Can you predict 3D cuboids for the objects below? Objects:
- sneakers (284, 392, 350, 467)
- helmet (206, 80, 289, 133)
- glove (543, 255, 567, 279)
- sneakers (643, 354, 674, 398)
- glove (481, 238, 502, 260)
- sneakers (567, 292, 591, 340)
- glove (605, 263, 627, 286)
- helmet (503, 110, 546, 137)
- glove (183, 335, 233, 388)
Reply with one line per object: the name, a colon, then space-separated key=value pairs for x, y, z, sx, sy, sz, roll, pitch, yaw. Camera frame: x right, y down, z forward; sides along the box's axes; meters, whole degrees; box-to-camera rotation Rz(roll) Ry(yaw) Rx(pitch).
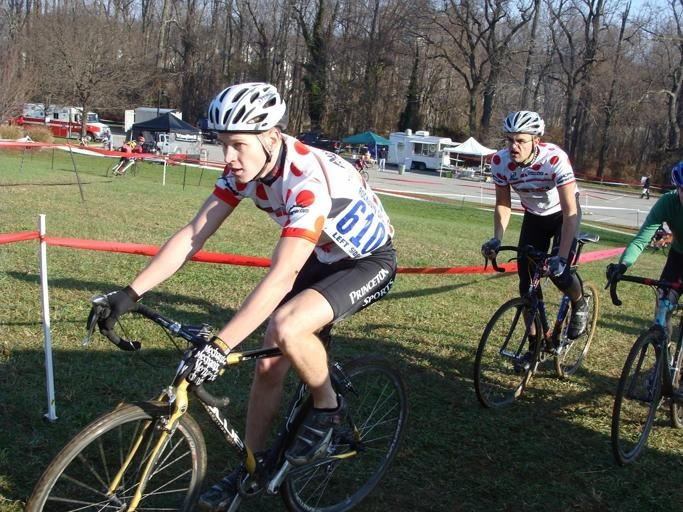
sneakers: x=-0.140 y=1.130 z=3.986 sx=0.226 sy=0.302 sz=0.659 roll=-10 pitch=8 yaw=35
helmet: x=-0.600 y=-0.944 z=3.822 sx=0.411 sy=0.291 sz=0.556 roll=14 pitch=18 yaw=36
glove: x=1.865 y=0.080 z=5.324 sx=0.143 sy=0.195 sz=0.187 roll=23 pitch=-18 yaw=41
sneakers: x=2.599 y=0.950 z=4.977 sx=0.220 sy=0.118 sz=0.322 roll=0 pitch=33 yaw=13
glove: x=1.405 y=-0.051 z=5.643 sx=0.159 sy=0.222 sz=0.303 roll=7 pitch=11 yaw=15
sneakers: x=2.370 y=0.609 z=5.927 sx=0.167 sy=0.538 sz=0.216 roll=12 pitch=12 yaw=34
glove: x=2.240 y=0.152 z=4.951 sx=0.177 sy=0.202 sz=0.084 roll=14 pitch=-17 yaw=7
helmet: x=1.765 y=-1.247 z=5.764 sx=0.232 sy=0.149 sz=0.356 roll=11 pitch=12 yaw=35
glove: x=-0.761 y=0.551 z=3.432 sx=0.228 sy=0.389 sz=0.093 roll=13 pitch=28 yaw=-12
